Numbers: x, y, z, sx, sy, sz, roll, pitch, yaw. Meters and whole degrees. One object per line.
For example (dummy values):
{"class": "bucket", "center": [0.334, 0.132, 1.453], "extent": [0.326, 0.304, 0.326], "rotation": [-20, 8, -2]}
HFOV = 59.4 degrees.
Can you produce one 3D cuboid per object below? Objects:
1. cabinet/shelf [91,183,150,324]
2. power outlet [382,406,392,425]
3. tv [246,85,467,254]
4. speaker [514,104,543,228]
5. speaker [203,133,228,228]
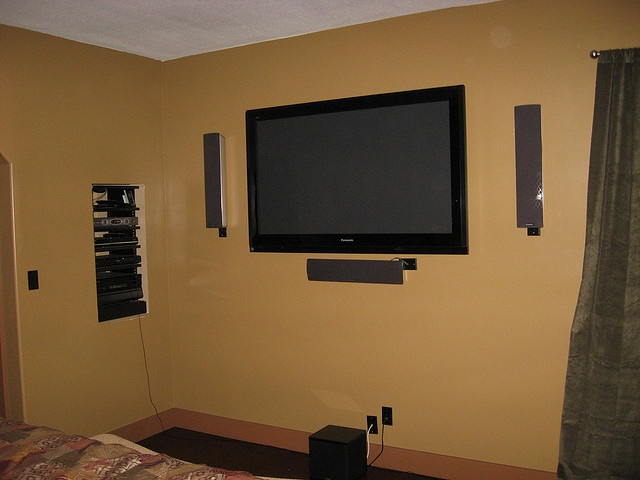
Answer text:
{"class": "cabinet/shelf", "center": [-1.543, 0.031, 4.736], "extent": [0.628, 0.981, 0.619], "rotation": [-7, 10, -33]}
{"class": "power outlet", "center": [0.492, 1.294, 4.108], "extent": [0.084, 0.143, 0.023], "rotation": [0, 6, 13]}
{"class": "tv", "center": [0.326, -0.514, 4.042], "extent": [1.260, 0.885, 0.092], "rotation": [0, 2, 21]}
{"class": "speaker", "center": [1.358, -0.481, 3.649], "extent": [0.167, 0.791, 0.069], "rotation": [0, 6, 14]}
{"class": "speaker", "center": [-0.828, -0.472, 4.453], "extent": [0.174, 0.738, 0.115], "rotation": [-3, 6, -11]}
